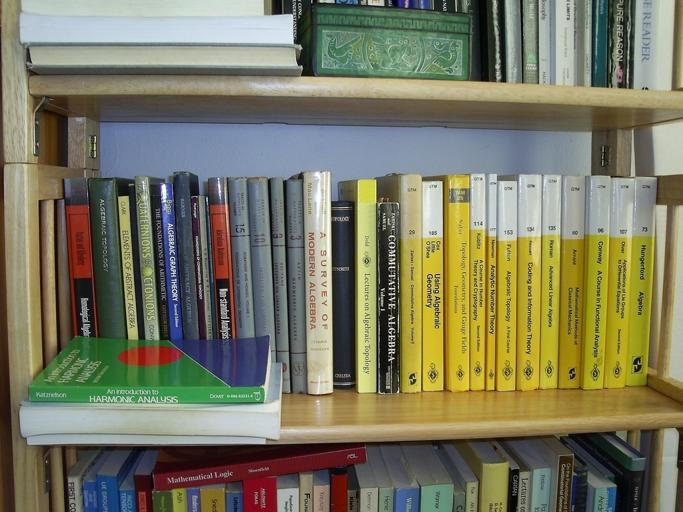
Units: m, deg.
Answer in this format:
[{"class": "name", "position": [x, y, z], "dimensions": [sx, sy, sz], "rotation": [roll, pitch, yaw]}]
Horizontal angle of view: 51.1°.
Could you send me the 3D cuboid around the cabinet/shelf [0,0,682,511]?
[{"class": "cabinet/shelf", "position": [0.000, 0.019, 1.268], "dimensions": [1.063, 0.892, 0.358], "rotation": [1, 11, -5]}]
